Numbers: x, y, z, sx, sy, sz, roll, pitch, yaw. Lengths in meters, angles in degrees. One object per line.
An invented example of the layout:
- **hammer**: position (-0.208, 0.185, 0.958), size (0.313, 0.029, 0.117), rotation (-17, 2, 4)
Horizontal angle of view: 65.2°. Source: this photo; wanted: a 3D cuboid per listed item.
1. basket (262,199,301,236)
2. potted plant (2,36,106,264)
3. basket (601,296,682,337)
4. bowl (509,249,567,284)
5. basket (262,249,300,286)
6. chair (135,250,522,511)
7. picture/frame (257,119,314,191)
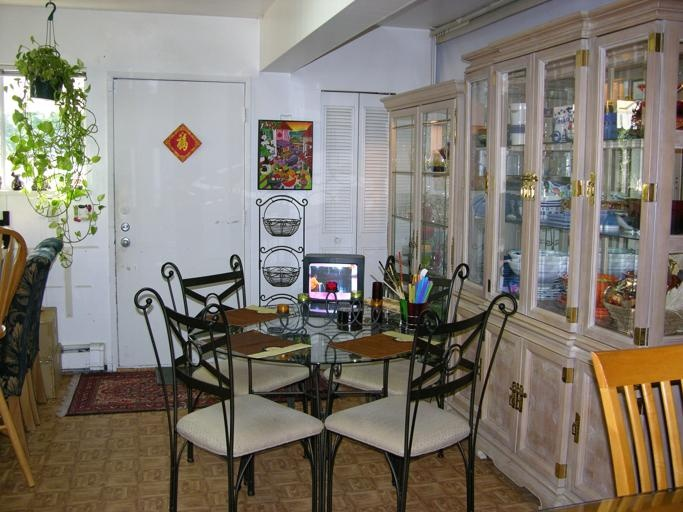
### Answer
- **basket**: position (-0.553, -0.355, 4.893), size (0.351, 0.397, 0.316), rotation (0, -1, 9)
- **potted plant**: position (-2.418, -0.836, 4.499), size (0.742, 1.872, 0.520), rotation (-2, 11, -11)
- **basket**: position (1.360, 0.272, 2.393), size (0.203, 0.198, 0.046), rotation (4, 2, 44)
- **bowl**: position (1.069, 0.060, 2.824), size (0.180, 0.131, 0.154), rotation (1, 2, -13)
- **basket**: position (-0.550, 0.095, 4.758), size (0.367, 0.398, 0.322), rotation (2, 0, 1)
- **chair**: position (-0.092, 0.723, 2.921), size (1.753, 1.258, 1.282), rotation (1, 11, 1)
- **picture/frame**: position (-0.532, -0.927, 4.819), size (0.599, 0.718, 0.026), rotation (-1, 10, -5)
